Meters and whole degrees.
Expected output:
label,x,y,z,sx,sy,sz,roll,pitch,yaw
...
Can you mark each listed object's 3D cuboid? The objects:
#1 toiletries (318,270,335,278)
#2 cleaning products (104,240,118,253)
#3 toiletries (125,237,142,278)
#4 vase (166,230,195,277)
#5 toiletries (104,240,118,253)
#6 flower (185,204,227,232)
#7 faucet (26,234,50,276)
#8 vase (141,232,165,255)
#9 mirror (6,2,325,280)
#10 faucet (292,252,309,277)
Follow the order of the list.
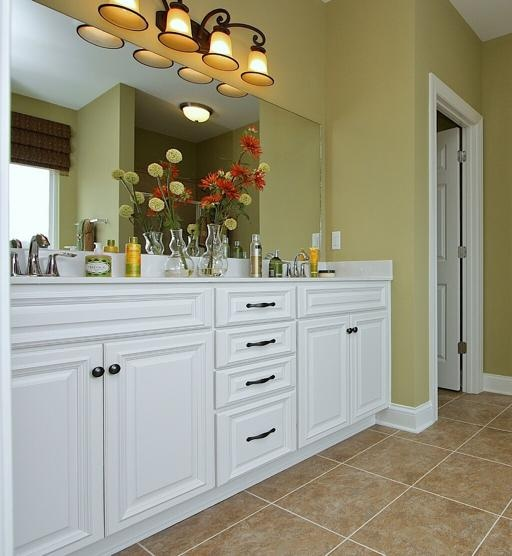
label,x,y,z,sx,sy,sz,roll,pitch,yaw
toiletries,0.415,-0.017,2.649,0.061,0.027,0.061,1,-1,-36
cleaning products,-0.583,-0.125,1.796,0.048,0.055,0.048,1,-2,-28
toiletries,-0.435,-0.076,1.590,0.046,0.141,0.140,0,1,-18
vase,-0.334,-0.116,1.950,0.118,0.219,0.318,0,1,-11
toiletries,-0.579,-0.125,1.795,0.048,0.055,0.048,1,-2,-28
flower,-0.215,-0.286,2.110,0.143,0.144,0.057,0,-17,-34
faucet,-0.730,-0.083,1.509,0.063,0.149,0.269,0,1,-24
vase,-0.450,-0.145,1.974,0.086,0.111,0.094,0,-3,-28
mirror,-0.406,-0.602,1.960,1.631,1.000,0.014,-1,2,-45
faucet,0.258,-0.083,2.638,0.142,0.144,0.094,3,-6,-36
